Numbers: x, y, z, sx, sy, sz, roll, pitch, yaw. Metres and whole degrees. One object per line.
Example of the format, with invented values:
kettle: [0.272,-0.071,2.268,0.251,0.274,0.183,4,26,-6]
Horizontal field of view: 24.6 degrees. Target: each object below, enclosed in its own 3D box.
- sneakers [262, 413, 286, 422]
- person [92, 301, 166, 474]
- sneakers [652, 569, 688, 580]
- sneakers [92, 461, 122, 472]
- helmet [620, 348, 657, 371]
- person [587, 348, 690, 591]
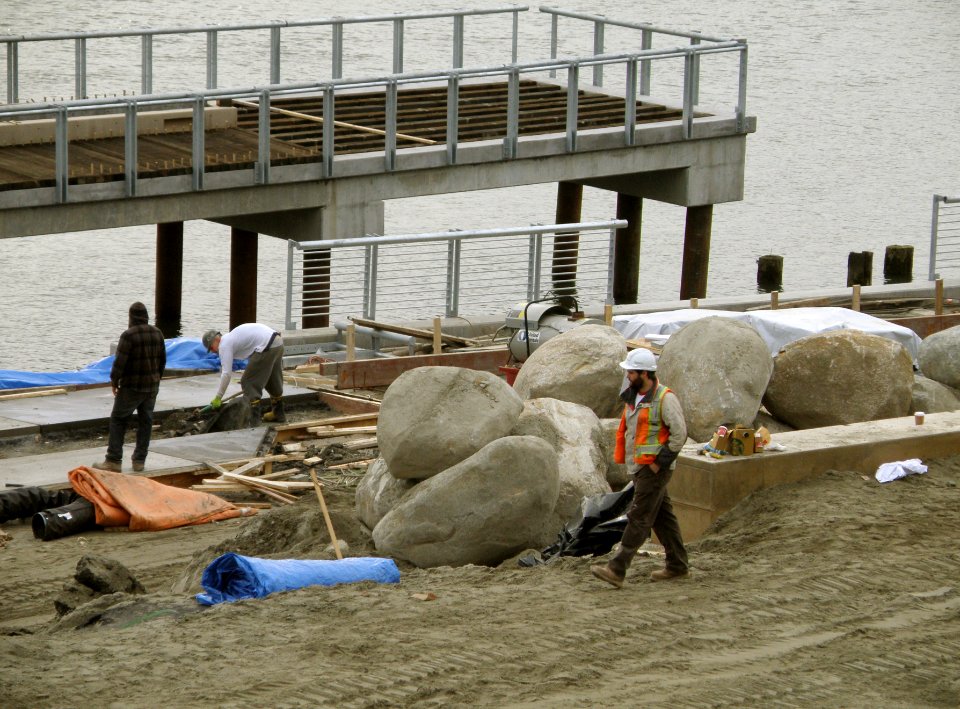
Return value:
sneakers: [-2.754,0.820,29.661,0.344,0.183,0.103,3,9,0]
person: [-4.336,0.375,27.572,0.677,2.077,0.766,2,2,0]
sneakers: [2.088,2.374,23.987,0.389,0.126,0.134,0,4,-4]
sneakers: [-4.623,1.373,27.391,0.395,0.132,0.124,9,7,0]
helmet: [1.739,0.044,23.901,0.375,0.152,0.254,4,8,-2]
person: [1.834,1.212,23.908,0.944,2.568,0.487,2,3,5]
